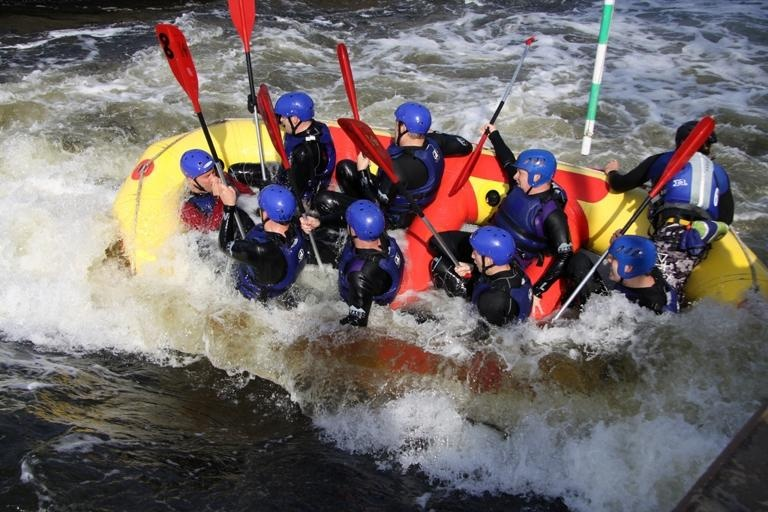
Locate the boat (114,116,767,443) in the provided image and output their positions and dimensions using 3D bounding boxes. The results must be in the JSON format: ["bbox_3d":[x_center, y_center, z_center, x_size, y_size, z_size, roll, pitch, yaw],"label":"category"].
[{"bbox_3d":[0.134,-0.096,9.121,6.846,1.205,3.188,8,47,-10],"label":"boat"}]

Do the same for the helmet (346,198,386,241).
[{"bbox_3d":[-0.207,-0.398,7.522,0.381,0.359,0.425,-18,69,-25],"label":"helmet"}]

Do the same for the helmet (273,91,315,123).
[{"bbox_3d":[-1.104,-1.878,8.662,0.472,0.347,0.330,25,42,2],"label":"helmet"}]

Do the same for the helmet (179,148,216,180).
[{"bbox_3d":[-2.155,-1.071,8.295,0.432,0.331,0.277,19,66,15],"label":"helmet"}]

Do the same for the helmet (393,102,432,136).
[{"bbox_3d":[0.381,-1.631,8.257,0.339,0.241,0.421,-11,54,-39],"label":"helmet"}]

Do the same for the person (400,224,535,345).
[{"bbox_3d":[1.023,0.315,8.207,1.312,1.132,1.540,15,67,9],"label":"person"}]

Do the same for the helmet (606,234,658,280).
[{"bbox_3d":[2.734,-0.038,7.624,0.540,0.424,0.394,23,31,24],"label":"helmet"}]

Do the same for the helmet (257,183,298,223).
[{"bbox_3d":[-1.174,-0.553,7.724,0.378,0.376,0.431,-19,76,-25],"label":"helmet"}]
